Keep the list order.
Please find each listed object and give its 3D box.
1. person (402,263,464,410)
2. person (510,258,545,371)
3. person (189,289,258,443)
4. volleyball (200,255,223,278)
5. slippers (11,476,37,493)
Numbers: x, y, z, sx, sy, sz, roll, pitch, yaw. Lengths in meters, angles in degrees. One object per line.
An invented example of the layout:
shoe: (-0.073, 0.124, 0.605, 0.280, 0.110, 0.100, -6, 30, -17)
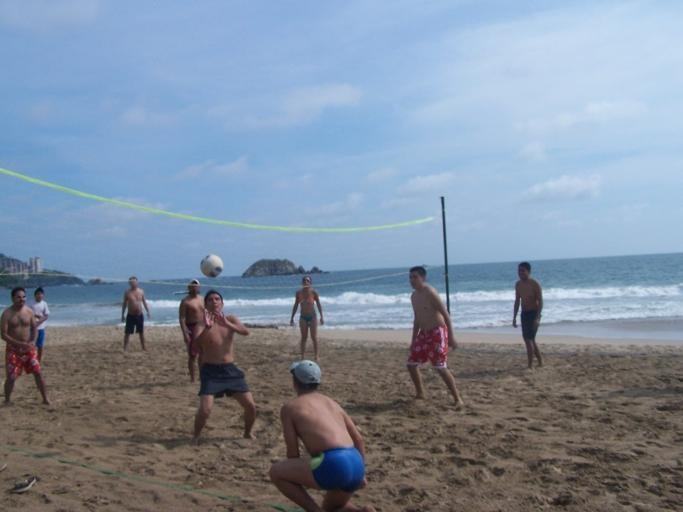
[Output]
person: (1.250, 1.032, 7.870, 0.745, 1.771, 0.528, 1, 8, 17)
person: (3.097, 0.956, 9.802, 0.490, 1.864, 0.955, 2, 8, 18)
person: (-1.392, 1.264, 6.952, 0.712, 1.720, 0.598, -3, 8, -13)
volleyball: (-1.406, 0.107, 6.460, 0.179, 0.156, 0.157, 34, 30, 21)
slippers: (-3.005, 2.152, 5.665, 0.226, 0.087, 0.188, -5, 8, -30)
